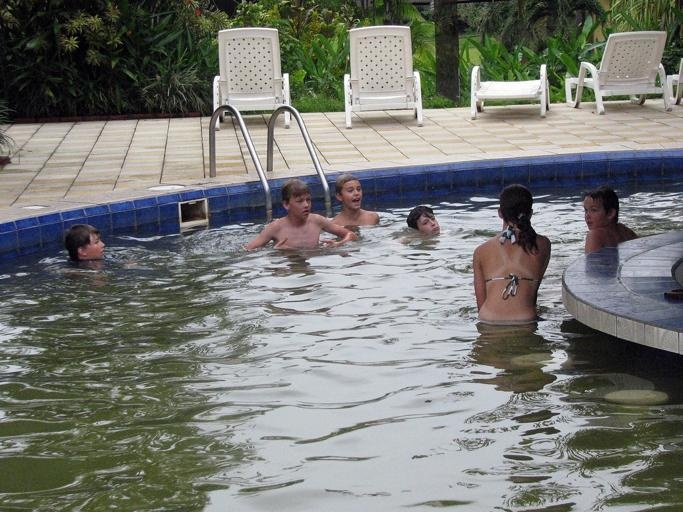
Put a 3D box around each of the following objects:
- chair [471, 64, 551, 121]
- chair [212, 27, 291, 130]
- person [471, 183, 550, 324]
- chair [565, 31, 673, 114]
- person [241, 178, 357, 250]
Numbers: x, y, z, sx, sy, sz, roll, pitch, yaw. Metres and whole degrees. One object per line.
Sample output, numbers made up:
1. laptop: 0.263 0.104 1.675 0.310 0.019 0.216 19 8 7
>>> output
1. chair: 2.947 -2.902 11.160 1.325 0.938 0.912 -3 13 12
2. chair: -1.574 -3.170 10.705 1.538 1.307 1.931 -3 45 -4
3. person: 1.010 -0.009 3.778 0.449 0.822 0.272 -4 14 14
4. chair: 4.847 -3.176 11.001 1.324 1.368 1.111 -7 13 -4
5. person: -0.387 -0.295 5.701 1.199 0.606 0.558 -3 11 -16
